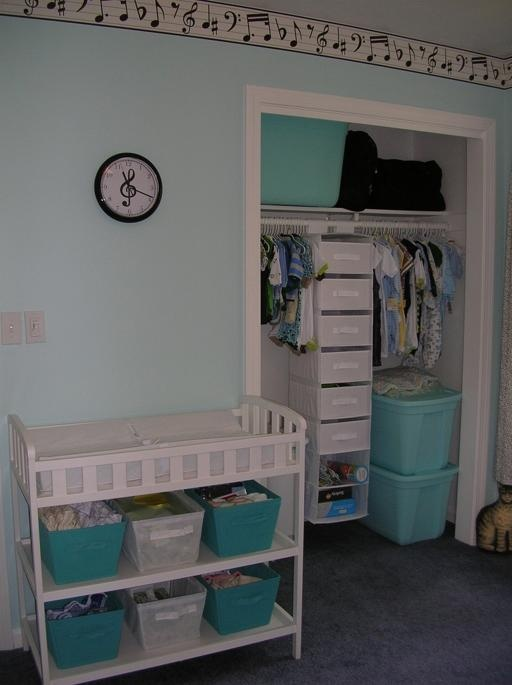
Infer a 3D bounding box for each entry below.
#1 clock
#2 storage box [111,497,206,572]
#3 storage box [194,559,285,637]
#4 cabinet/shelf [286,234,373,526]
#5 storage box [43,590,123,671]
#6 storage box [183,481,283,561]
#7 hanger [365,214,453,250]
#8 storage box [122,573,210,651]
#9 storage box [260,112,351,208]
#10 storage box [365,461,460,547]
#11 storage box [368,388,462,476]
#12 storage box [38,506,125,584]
[{"bbox_3d":[-0.469,-0.561,2.062,0.243,0.272,0.030,-2,8,-27],"label":"clock"},{"bbox_3d":[-0.327,0.622,1.930,0.178,0.145,0.276,1,-7,-22],"label":"storage box"},{"bbox_3d":[-0.057,0.890,2.033,0.228,0.158,0.191,1,-2,-29],"label":"storage box"},{"bbox_3d":[0.444,0.185,3.050,0.316,1.166,0.291,0,11,2],"label":"cabinet/shelf"},{"bbox_3d":[-0.548,0.882,1.821,0.176,0.168,0.231,3,-12,-25],"label":"storage box"},{"bbox_3d":[-0.091,0.616,2.082,0.225,0.192,0.344,5,2,-33],"label":"storage box"},{"bbox_3d":[0.858,-0.668,3.331,0.557,0.197,0.473,1,3,-2],"label":"hanger"},{"bbox_3d":[-0.288,0.893,1.923,0.221,0.159,0.199,3,-8,-30],"label":"storage box"},{"bbox_3d":[0.212,-0.857,2.691,0.370,0.446,0.297,-4,19,-25],"label":"storage box"},{"bbox_3d":[0.840,0.875,3.277,0.391,0.403,0.510,-2,3,-19],"label":"storage box"},{"bbox_3d":[0.870,0.505,3.247,0.455,0.427,0.530,1,0,-29],"label":"storage box"},{"bbox_3d":[-0.508,0.580,1.710,0.184,0.160,0.233,2,-10,-25],"label":"storage box"}]
